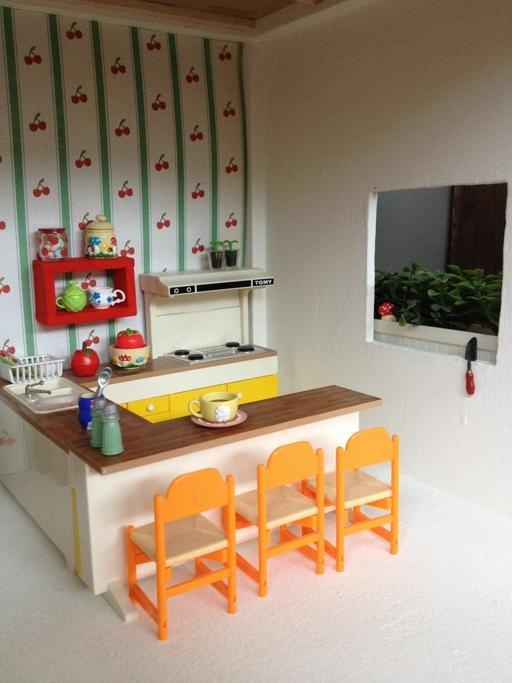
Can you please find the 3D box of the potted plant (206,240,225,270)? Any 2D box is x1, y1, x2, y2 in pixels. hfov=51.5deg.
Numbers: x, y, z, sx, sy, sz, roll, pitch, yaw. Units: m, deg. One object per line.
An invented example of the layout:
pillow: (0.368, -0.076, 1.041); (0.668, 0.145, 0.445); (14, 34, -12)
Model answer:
potted plant: (-0.314, -0.685, 4.199); (0.129, 0.219, 0.168); (-2, 5, -9)

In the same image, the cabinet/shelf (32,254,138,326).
cabinet/shelf: (-1.122, -0.353, 3.517); (0.582, 0.386, 0.204); (-10, 20, -34)

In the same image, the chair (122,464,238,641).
chair: (-0.284, 0.742, 1.999); (0.354, 0.564, 0.385); (4, 6, 41)

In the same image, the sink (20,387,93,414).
sink: (-1.010, 0.296, 2.653); (0.238, 0.084, 0.244); (-7, 10, -37)

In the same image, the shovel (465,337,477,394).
shovel: (1.179, 0.138, 2.912); (0.063, 0.323, 0.108); (1, 5, 24)

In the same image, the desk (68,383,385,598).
desk: (-0.365, 0.640, 2.450); (1.780, 0.669, 0.698); (-6, 16, -36)

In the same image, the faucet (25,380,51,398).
faucet: (-1.179, 0.259, 2.861); (0.147, 0.069, 0.113); (-2, 11, -27)

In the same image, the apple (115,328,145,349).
apple: (-0.858, -0.018, 3.585); (0.194, 0.129, 0.126); (-2, 5, -15)

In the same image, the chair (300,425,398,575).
chair: (0.441, 0.683, 2.499); (0.398, 0.680, 0.397); (-5, 16, -29)
